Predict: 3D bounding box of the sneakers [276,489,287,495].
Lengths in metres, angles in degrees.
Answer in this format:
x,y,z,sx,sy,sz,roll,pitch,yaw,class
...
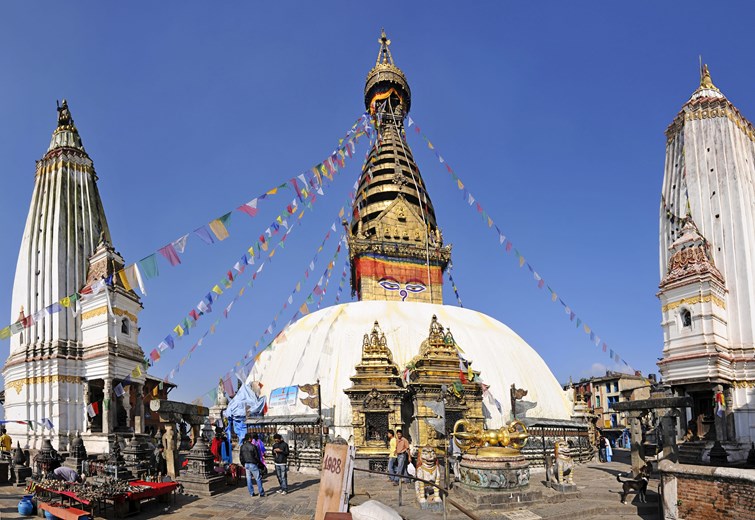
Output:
x,y,z,sx,sy,sz,roll,pitch,yaw,class
-3.662,8.897,24.457,0.184,0.141,0.349,-9,-25,33,sneakers

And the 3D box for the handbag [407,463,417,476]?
x,y,z,sx,sy,sz,roll,pitch,yaw,class
1.273,8.125,24.661,0.359,0.526,0.135,-19,-27,27,handbag

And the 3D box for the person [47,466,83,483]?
x,y,z,sx,sy,sz,roll,pitch,yaw,class
-11.442,7.888,23.556,0.983,0.319,0.621,13,-1,28,person

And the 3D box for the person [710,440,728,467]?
x,y,z,sx,sy,sz,roll,pitch,yaw,class
12.962,7.372,24.470,0.561,0.862,1.414,-9,-18,25,person
